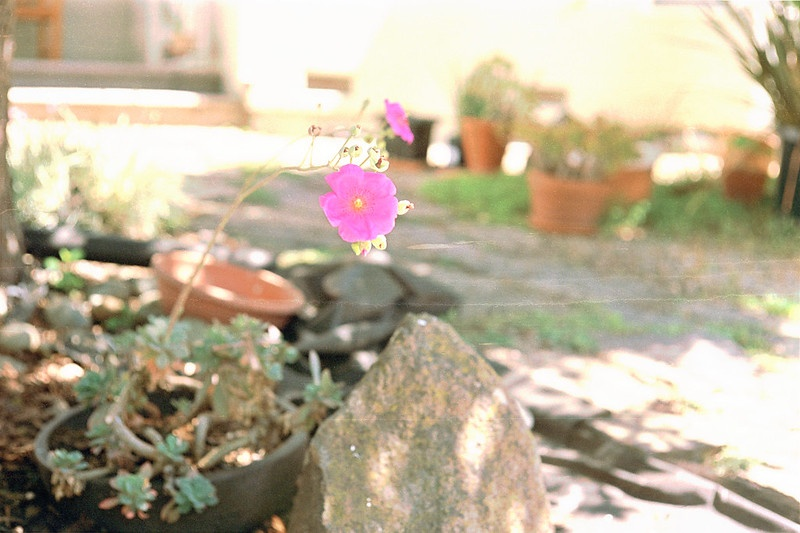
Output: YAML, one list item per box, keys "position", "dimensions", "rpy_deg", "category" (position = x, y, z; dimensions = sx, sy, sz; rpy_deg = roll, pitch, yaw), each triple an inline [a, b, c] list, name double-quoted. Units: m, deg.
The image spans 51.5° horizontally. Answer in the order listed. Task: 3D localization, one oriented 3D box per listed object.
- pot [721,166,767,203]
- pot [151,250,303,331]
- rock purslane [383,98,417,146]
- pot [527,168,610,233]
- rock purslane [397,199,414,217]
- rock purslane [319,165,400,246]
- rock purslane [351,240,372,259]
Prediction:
- position: [0.864, -0.219, 2.124]
  dimensions: [0.113, 0.080, 0.096]
  rpy_deg: [12, 18, 28]
  category: "pot"
- position: [-0.508, 0.068, 2.395]
  dimensions: [0.309, 0.107, 0.306]
  rpy_deg: [23, 5, -2]
  category: "pot"
- position: [0.000, -0.304, 1.767]
  dimensions: [0.020, 0.084, 0.079]
  rpy_deg: [-13, 7, 34]
  category: "rock purslane"
- position: [0.432, -0.163, 2.139]
  dimensions: [0.202, 0.129, 0.196]
  rpy_deg: [7, 4, 0]
  category: "pot"
- position: [0.011, -0.114, 1.638]
  dimensions: [0.028, 0.020, 0.054]
  rpy_deg: [9, -1, -2]
  category: "rock purslane"
- position: [-0.083, -0.139, 1.603]
  dimensions: [0.149, 0.052, 0.140]
  rpy_deg: [3, -25, 7]
  category: "rock purslane"
- position: [-0.077, -0.032, 1.618]
  dimensions: [0.036, 0.034, 0.031]
  rpy_deg: [-22, 0, 9]
  category: "rock purslane"
